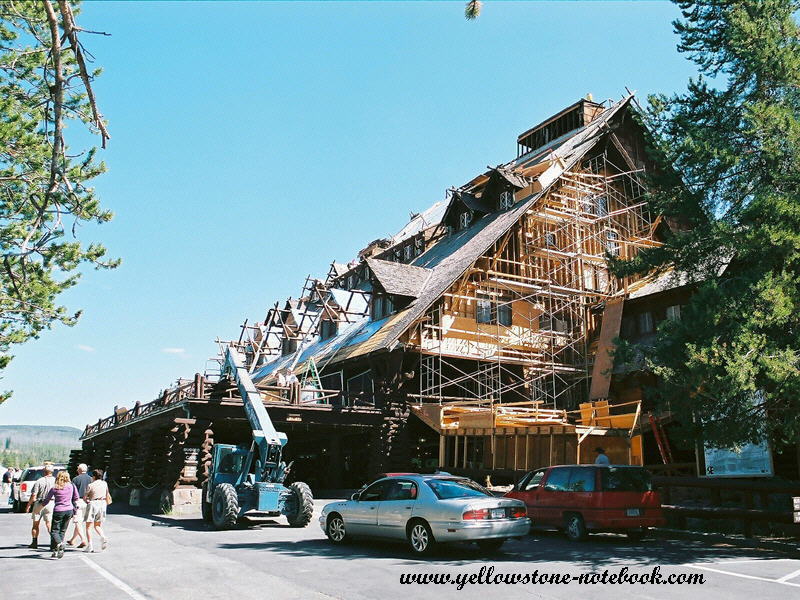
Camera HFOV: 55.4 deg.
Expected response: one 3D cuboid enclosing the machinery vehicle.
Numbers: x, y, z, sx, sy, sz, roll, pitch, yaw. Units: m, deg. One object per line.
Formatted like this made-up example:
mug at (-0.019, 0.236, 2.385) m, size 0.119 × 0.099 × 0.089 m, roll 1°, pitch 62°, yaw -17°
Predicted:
machinery vehicle at (-5.085, 4.542, 26.783) m, size 2.876 × 6.813 × 6.377 m, roll 8°, pitch -18°, yaw -15°
